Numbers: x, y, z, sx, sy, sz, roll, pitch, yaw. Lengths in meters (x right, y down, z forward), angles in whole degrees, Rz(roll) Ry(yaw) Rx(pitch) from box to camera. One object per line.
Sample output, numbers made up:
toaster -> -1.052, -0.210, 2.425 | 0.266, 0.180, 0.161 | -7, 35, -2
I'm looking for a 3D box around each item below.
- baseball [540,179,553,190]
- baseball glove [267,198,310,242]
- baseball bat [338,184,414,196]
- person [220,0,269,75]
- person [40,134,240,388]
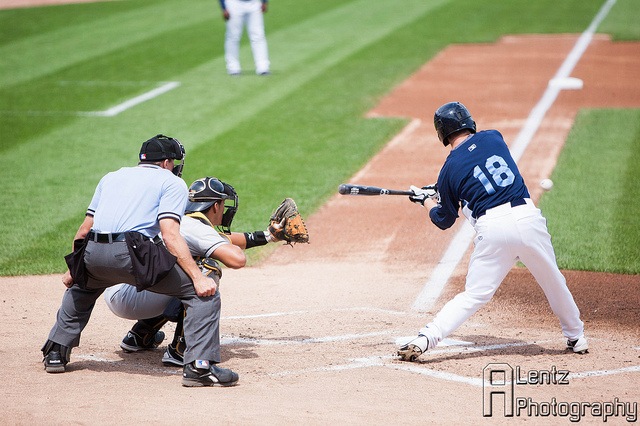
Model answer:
baseball -> 2.524, -0.304, 9.471 | 0.175, 0.078, 0.146 | -4, 37, 7
baseball glove -> -0.383, 0.085, 8.484 | 0.381, 0.438, 0.229 | -45, 13, -30
baseball bat -> 0.663, -0.270, 9.827 | 1.027, 0.096, 0.111 | 8, -21, -29
person -> -0.935, -2.195, 10.683 | 0.566, 0.889, 0.291 | -2, 18, -4
person -> -1.709, 0.463, 7.830 | 1.701, 2.143, 0.920 | -2, 17, -2
